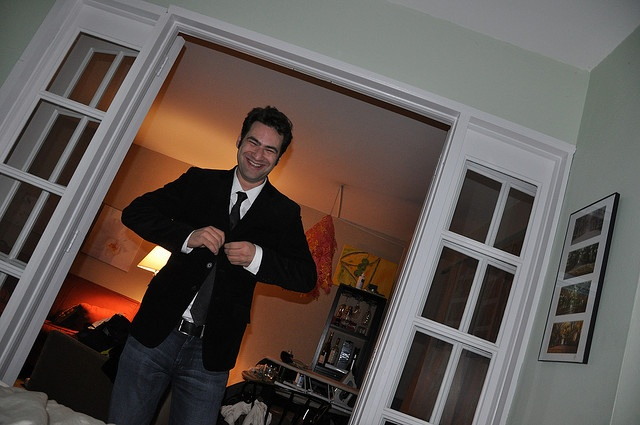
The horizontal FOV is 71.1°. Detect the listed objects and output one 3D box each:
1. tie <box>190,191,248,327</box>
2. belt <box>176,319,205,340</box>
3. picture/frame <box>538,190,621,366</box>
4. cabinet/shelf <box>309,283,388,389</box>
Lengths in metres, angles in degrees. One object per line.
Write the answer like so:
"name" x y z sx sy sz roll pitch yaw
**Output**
"tie" -0.639 0.287 2.941 0.135 0.953 0.128 24 -33 -9
"belt" -0.746 0.671 2.607 0.114 0.061 0.122 14 -12 40
"picture/frame" 1.464 0.382 2.513 0.096 0.947 0.419 19 -18 -7
"cabinet/shelf" 0.348 1.451 5.341 0.534 1.090 0.325 17 -12 8
